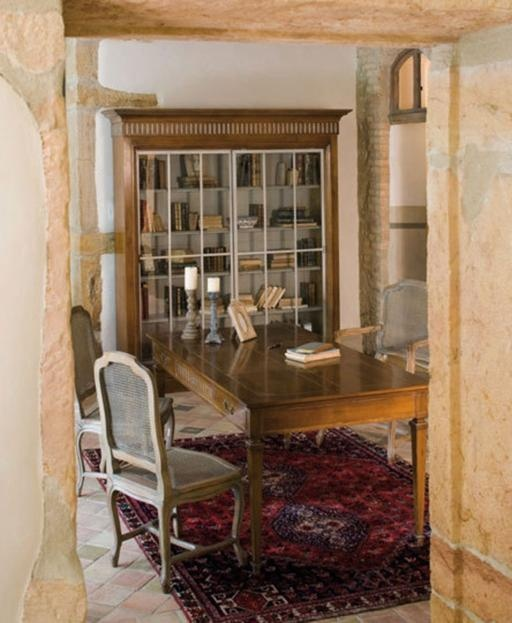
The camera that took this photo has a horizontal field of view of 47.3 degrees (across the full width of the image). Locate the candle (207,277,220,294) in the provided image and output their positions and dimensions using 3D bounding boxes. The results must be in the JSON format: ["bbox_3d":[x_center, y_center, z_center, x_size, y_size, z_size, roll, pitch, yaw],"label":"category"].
[{"bbox_3d":[-0.309,-0.177,4.253,0.075,0.113,0.107,-1,7,4],"label":"candle"}]

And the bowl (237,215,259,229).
[{"bbox_3d":[-0.089,-0.933,6.103,0.176,0.065,0.132,-4,17,-12],"label":"bowl"}]

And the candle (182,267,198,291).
[{"bbox_3d":[-0.478,-0.229,4.290,0.074,0.168,0.058,-4,8,-20],"label":"candle"}]

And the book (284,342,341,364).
[{"bbox_3d":[0.367,0.266,3.685,0.176,0.061,0.187,-8,7,-44],"label":"book"}]

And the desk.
[{"bbox_3d":[0.358,0.727,3.876,0.968,0.738,2.119,-5,2,-4],"label":"desk"}]
